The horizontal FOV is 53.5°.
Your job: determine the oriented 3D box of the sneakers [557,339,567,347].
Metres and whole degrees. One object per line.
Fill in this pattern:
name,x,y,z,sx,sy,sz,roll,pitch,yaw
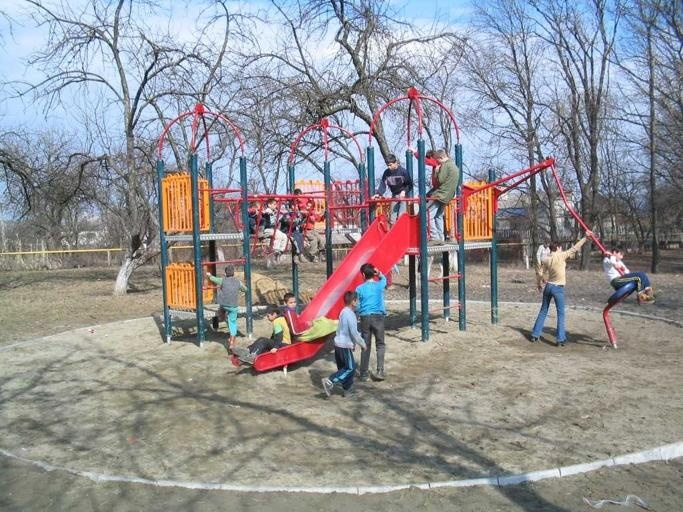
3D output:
sneakers,4.342,1.722,13.326,0.221,0.116,0.081,-13,11,-20

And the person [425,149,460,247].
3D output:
person,2.090,-1.203,13.873,0.630,1.940,0.749,1,12,10

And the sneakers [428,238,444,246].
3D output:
sneakers,1.960,-0.276,14.044,0.320,0.157,0.128,8,-8,-4

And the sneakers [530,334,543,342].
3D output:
sneakers,3.961,1.680,13.764,0.126,0.168,0.175,-3,2,-36

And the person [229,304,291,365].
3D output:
person,-1.426,1.417,12.161,1.179,1.214,0.737,-3,-1,-13

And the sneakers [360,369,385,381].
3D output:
sneakers,0.497,2.040,11.636,0.180,0.224,0.527,2,-2,-39

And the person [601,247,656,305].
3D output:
person,5.651,0.383,13.377,0.881,1.134,0.985,3,13,20

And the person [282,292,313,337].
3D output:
person,-0.839,1.052,11.959,0.440,0.847,0.575,-8,23,-5

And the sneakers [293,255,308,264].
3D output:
sneakers,-0.989,0.069,15.950,0.170,0.177,0.362,-1,-5,-33

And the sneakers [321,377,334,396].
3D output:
sneakers,-0.238,2.107,10.814,0.161,0.384,0.124,-15,-12,6

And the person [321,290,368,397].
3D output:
person,0.042,1.440,11.008,0.699,1.663,0.794,-2,12,-2
